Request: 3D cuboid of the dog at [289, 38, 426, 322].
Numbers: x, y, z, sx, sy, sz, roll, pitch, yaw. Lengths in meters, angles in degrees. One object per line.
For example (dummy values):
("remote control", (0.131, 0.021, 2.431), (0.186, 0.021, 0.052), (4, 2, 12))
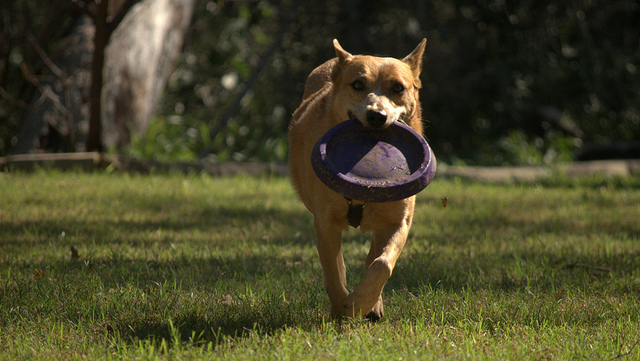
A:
("dog", (0.485, -0.059, 17.871), (2.192, 4.731, 1.749), (5, 6, 32))
